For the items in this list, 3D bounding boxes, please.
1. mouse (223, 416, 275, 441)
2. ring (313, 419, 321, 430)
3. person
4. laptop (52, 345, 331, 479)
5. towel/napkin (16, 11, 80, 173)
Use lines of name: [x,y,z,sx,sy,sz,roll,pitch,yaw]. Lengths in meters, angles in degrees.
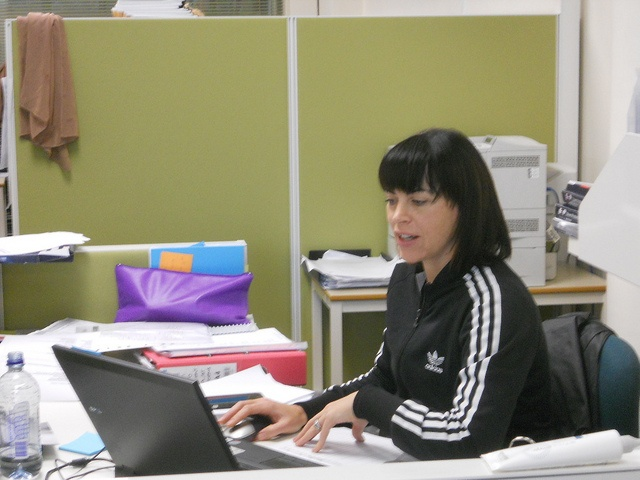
mouse: [-0.193,0.503,1.796,0.087,0.022,0.053,-2,4,-43]
ring: [-0.005,0.482,1.751,0.015,0.021,0.008,-4,-18,1]
person: [0.245,0.129,1.764,0.661,0.840,0.487,3,9,32]
laptop: [-0.300,0.327,1.534,0.389,0.261,0.398,-3,0,-44]
towel/napkin: [-1.310,-0.703,3.206,0.251,0.755,0.168,-2,18,-16]
